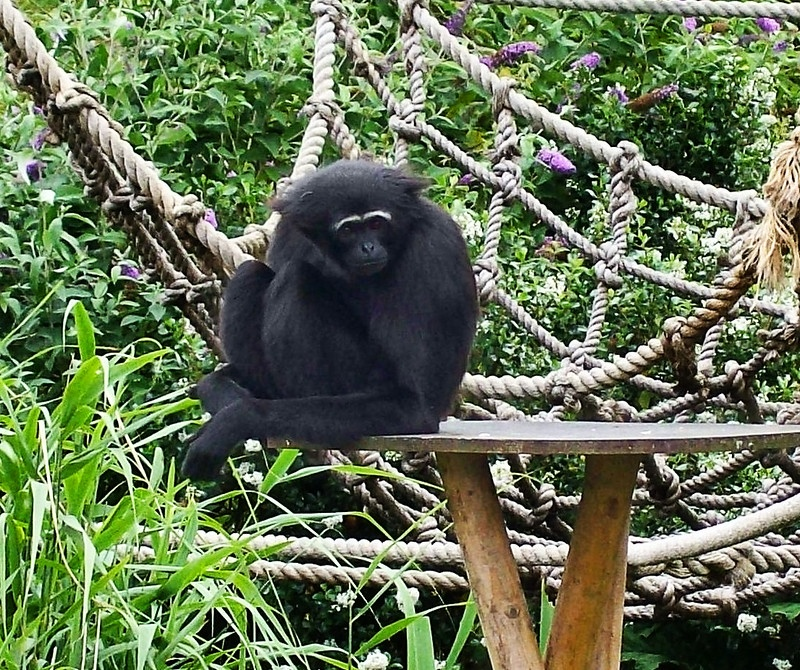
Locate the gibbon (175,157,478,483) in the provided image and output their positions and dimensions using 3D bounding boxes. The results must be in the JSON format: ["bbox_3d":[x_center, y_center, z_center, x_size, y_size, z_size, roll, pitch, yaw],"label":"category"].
[{"bbox_3d":[-0.330,-0.109,7.123,1.164,1.300,1.324,7,18,18],"label":"gibbon"}]
